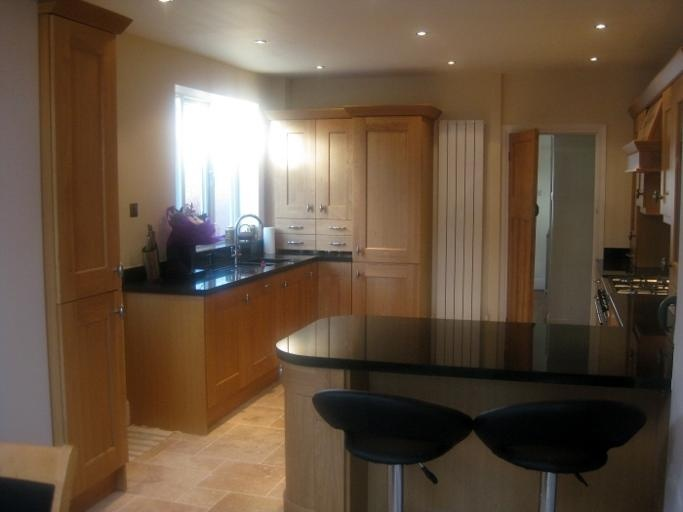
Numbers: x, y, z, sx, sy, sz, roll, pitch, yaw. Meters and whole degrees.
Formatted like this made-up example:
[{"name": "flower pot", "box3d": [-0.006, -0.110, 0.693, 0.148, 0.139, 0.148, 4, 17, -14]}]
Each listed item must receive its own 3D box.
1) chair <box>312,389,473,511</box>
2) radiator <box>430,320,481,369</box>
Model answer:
[{"name": "chair", "box3d": [0.226, 0.648, 2.471, 0.528, 0.641, 0.424, 4, 14, 25]}, {"name": "radiator", "box3d": [0.593, 0.446, 2.894, 0.206, 0.226, 0.122, 1, -23, 16]}]
